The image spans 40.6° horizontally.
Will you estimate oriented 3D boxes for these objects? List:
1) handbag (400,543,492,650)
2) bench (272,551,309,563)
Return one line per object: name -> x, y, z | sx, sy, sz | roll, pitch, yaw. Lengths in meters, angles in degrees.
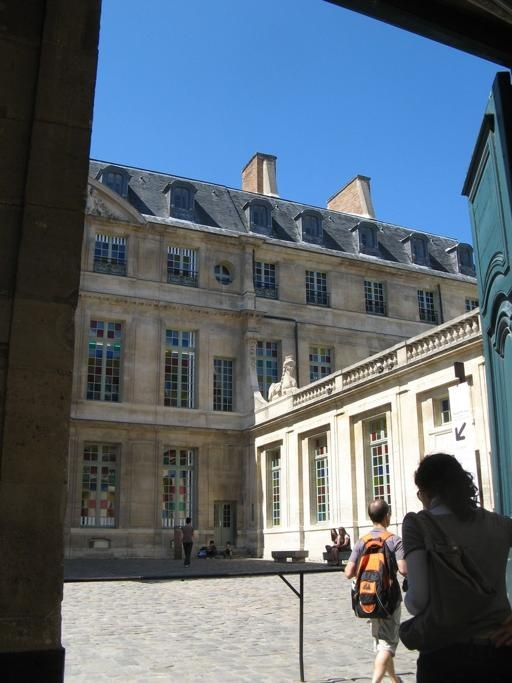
handbag -> 0.642, 0.858, 2.322 | 0.319, 0.312, 0.180 | -8, -17, -7
bench -> 1.069, 6.829, 21.949 | 1.026, 0.398, 2.004 | -2, -14, -1
